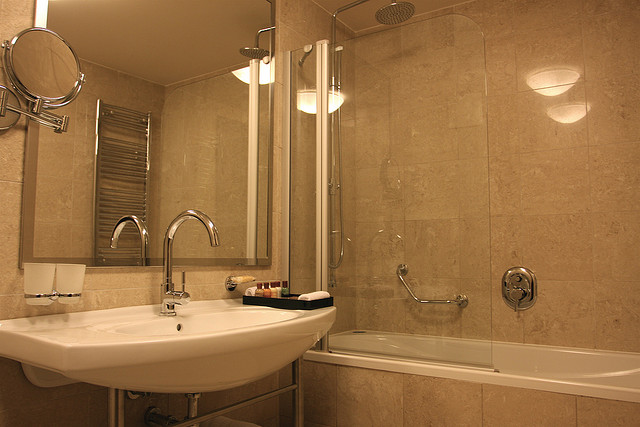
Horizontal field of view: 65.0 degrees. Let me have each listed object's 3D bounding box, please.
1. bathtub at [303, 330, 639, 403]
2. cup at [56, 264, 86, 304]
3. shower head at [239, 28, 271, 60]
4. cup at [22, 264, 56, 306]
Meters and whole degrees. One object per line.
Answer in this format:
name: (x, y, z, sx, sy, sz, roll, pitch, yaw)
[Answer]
bathtub: (0.934, 0.853, 2.989, 1.693, 0.421, 1.113, -7, -9, 28)
cup: (-1.047, 0.286, 2.090, 0.118, 0.171, 0.121, 0, -6, 0)
shower head: (-0.391, -1.035, 3.022, 0.156, 0.151, 0.164, 21, -44, 7)
cup: (-1.152, 0.290, 2.048, 0.115, 0.171, 0.115, 1, -3, 0)
